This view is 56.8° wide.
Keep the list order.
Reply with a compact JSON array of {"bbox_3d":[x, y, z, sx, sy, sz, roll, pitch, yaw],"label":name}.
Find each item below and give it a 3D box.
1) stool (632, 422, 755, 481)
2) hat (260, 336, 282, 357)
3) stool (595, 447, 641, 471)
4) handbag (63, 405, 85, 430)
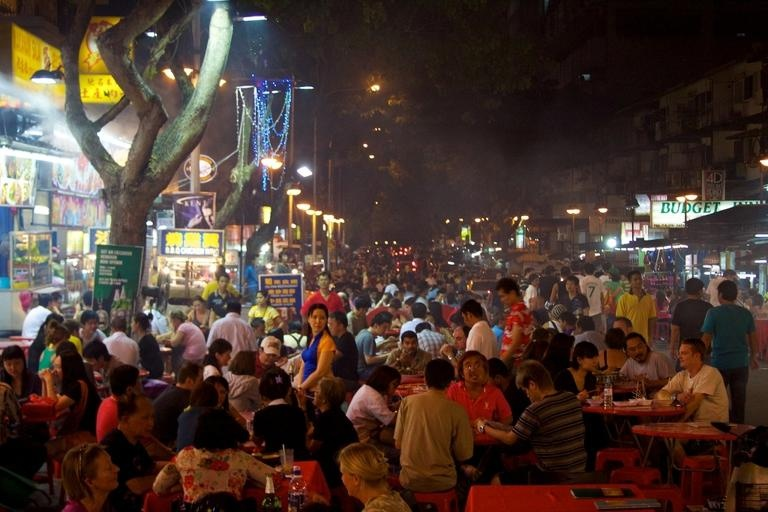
[{"bbox_3d":[4.724,2.761,11.196,1.391,0.684,1.459,-2,-10,16],"label":"stool"},{"bbox_3d":[-2.275,1.784,14.193,0.314,0.256,0.441,12,2,-25],"label":"hat"},{"bbox_3d":[3.716,3.197,11.303,0.497,0.409,0.519,-5,1,20],"label":"stool"},{"bbox_3d":[-5.038,2.668,11.601,0.093,0.390,0.269,38,-19,-26],"label":"handbag"}]
